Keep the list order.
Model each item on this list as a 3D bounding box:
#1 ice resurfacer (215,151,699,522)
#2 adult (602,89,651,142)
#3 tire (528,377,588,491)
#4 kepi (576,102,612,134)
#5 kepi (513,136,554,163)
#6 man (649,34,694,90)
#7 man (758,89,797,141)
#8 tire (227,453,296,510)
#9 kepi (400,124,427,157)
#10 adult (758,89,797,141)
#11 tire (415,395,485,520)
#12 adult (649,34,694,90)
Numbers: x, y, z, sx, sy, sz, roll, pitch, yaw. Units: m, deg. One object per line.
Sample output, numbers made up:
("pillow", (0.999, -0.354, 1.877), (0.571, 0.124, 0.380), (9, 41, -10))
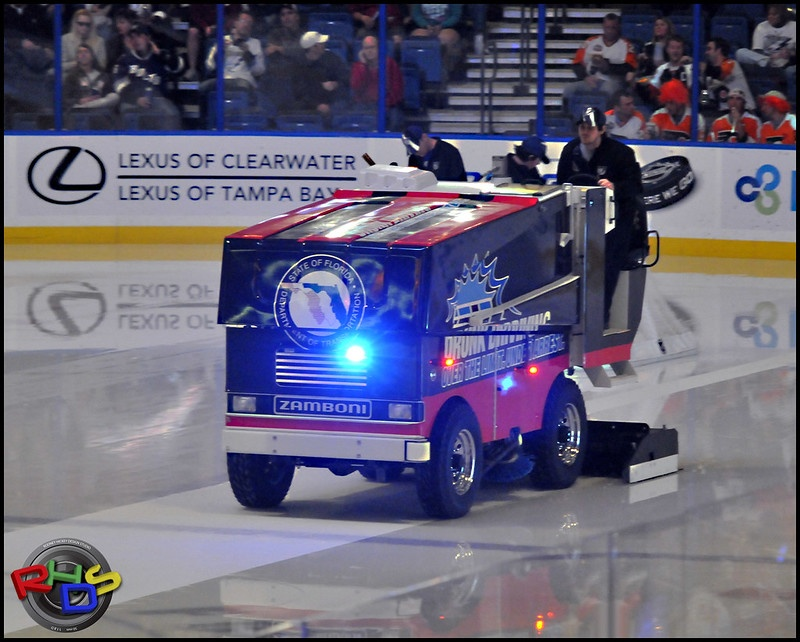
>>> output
("ice resurfacer", (0.271, 0.086, 6.774), (1.715, 1.550, 2.782), (3, 6, 29))
("adult", (2.946, -2.556, 14.741), (0.686, 0.839, 0.422), (0, 0, -1))
("tire", (0.912, 0.668, 6.590), (0.247, 0.624, 0.691), (-2, -7, 34))
("kepi", (1.203, -1.265, 6.970), (0.147, 0.132, 0.278), (2, 11, 14))
("kepi", (0.837, -1.092, 7.118), (0.244, 0.116, 0.170), (-2, 23, -31))
("man", (3.590, -3.391, 14.634), (0.777, 0.579, 0.382), (0, 16, 9))
("man", (4.956, -2.673, 14.643), (0.459, 0.692, 0.347), (3, 12, 15))
("tire", (-0.747, 0.850, 5.902), (0.139, 0.328, 0.326), (3, 6, 37))
("kepi", (0.044, -1.293, 7.878), (0.150, 0.200, 0.207), (3, -20, 39))
("adult", (4.956, -2.673, 14.643), (0.459, 0.692, 0.347), (3, 12, 15))
("tire", (0.273, 0.720, 5.778), (0.154, 0.607, 0.483), (7, 13, 32))
("adult", (3.590, -3.391, 14.634), (0.777, 0.579, 0.382), (0, 16, 9))
